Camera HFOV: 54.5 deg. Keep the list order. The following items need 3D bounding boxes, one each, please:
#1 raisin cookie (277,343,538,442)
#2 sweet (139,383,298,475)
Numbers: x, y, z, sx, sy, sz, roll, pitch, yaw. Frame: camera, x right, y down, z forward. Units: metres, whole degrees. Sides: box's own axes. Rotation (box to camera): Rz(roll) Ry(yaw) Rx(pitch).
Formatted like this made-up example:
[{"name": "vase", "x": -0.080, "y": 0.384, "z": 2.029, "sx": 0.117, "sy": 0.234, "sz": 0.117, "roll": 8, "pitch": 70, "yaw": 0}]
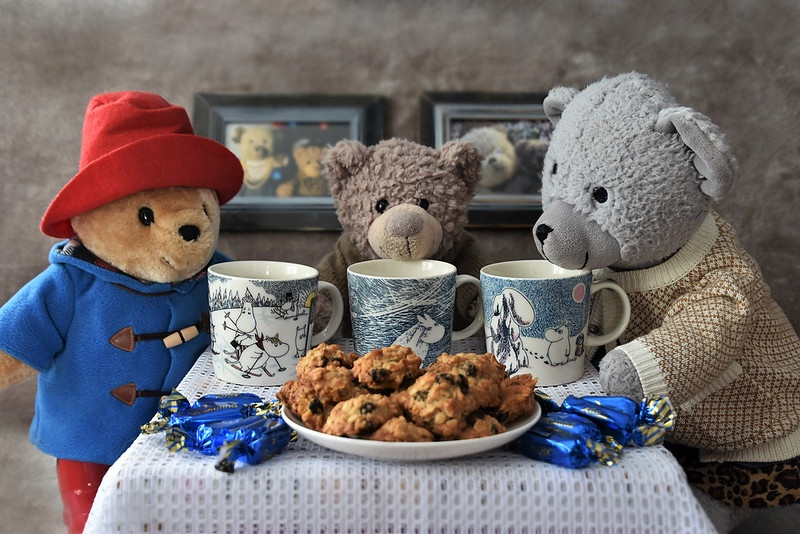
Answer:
[{"name": "raisin cookie", "x": 0.011, "y": 0.133, "z": 1.030, "sx": 0.310, "sy": 0.120, "sz": 0.200, "roll": -4, "pitch": 7, "yaw": -24}, {"name": "sweet", "x": -0.247, "y": 0.213, "z": 1.043, "sx": 0.141, "sy": 0.085, "sz": 0.218, "roll": -5, "pitch": 19, "yaw": -14}]
